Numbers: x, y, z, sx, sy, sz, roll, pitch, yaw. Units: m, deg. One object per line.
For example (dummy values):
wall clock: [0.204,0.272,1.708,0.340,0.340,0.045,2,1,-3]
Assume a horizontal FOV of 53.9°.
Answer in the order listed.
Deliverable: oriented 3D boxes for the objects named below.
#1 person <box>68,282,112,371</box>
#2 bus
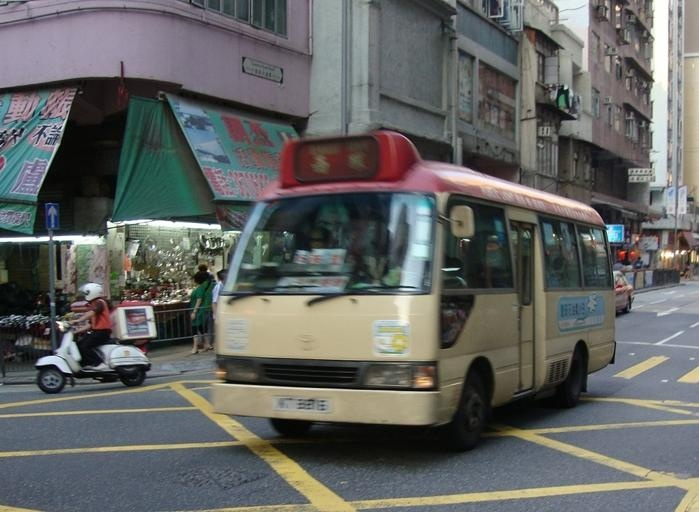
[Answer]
person: [-4.326,1.177,11.673,0.579,1.388,0.417,0,-2,-22]
bus: [2.020,0.438,9.078,7.578,3.456,2.138,0,-3,-42]
